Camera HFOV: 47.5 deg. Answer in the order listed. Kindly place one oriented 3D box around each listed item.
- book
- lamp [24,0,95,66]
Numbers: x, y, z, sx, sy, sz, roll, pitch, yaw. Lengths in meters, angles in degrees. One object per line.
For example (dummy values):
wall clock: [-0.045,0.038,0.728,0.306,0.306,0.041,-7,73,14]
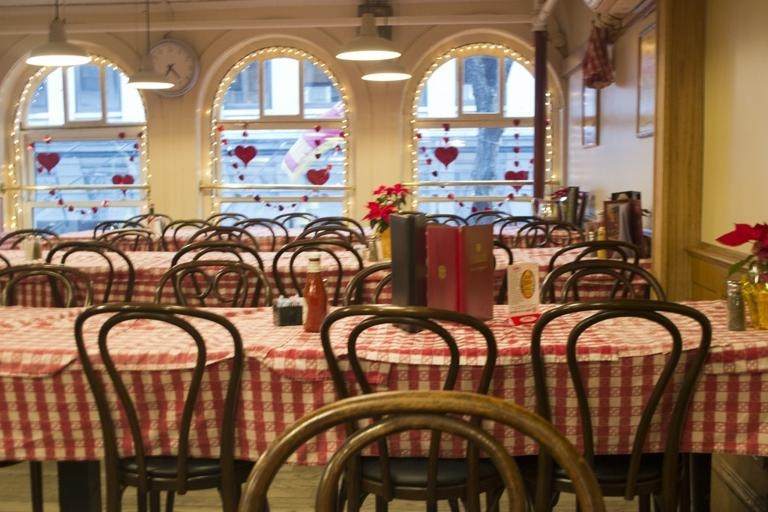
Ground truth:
book: [0.333,0.033,3.749,0.506,0.517,0.490,0,3,13]
lamp: [-2.393,-1.614,6.337,0.423,0.372,0.408,-4,6,-18]
